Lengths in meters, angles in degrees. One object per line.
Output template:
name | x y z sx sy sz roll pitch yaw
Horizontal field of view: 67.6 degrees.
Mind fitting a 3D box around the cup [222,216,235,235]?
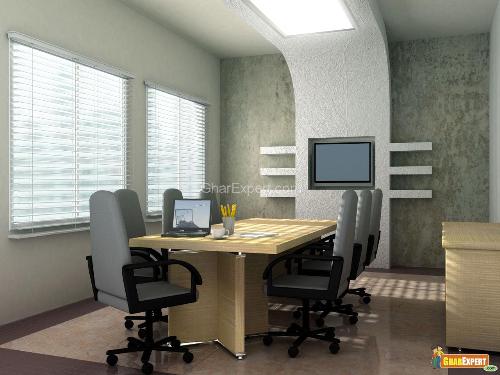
cup | -0.184 0.367 3.547 0.152 0.169 0.148 -2 -9 0

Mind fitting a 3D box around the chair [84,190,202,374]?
chair | -0.899 0.746 3.154 0.806 1.459 0.893 -1 1 -41

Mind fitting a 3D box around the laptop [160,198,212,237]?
laptop | -0.582 0.282 3.500 0.450 0.336 0.360 0 -3 10

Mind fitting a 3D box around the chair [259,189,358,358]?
chair | 0.567 0.738 3.614 0.884 1.436 1.335 0 1 14

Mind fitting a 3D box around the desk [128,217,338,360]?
desk | -0.106 1.004 4.145 1.283 0.974 2.268 -1 -4 16

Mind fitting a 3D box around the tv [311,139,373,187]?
tv | 1.728 -0.448 6.817 0.946 0.683 0.095 0 1 19
